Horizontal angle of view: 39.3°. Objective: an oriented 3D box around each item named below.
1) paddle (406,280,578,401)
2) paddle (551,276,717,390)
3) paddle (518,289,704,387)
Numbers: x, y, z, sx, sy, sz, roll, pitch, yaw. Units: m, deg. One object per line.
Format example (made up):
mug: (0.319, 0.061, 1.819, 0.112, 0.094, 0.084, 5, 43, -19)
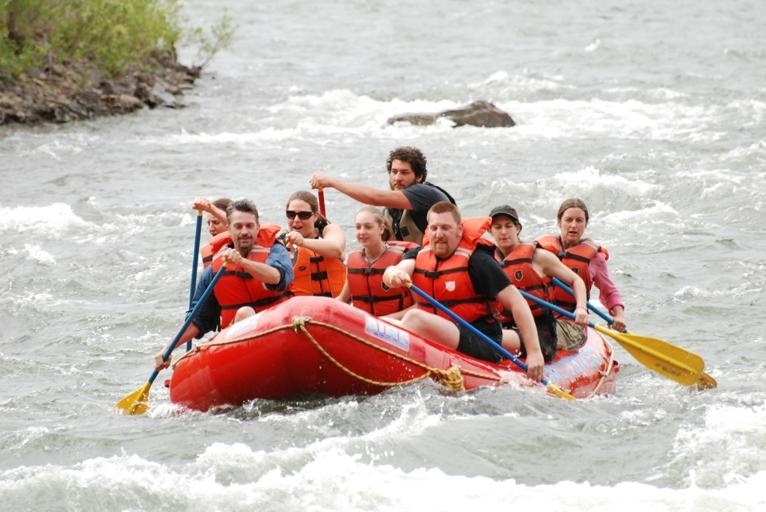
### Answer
paddle: (1.382, 1.176, 14.515, 2.789, 0.119, 0.421, 28, 4, 0)
paddle: (3.755, 1.218, 16.142, 2.715, 0.365, 0.293, 31, 25, 16)
paddle: (3.249, 1.077, 16.453, 0.566, 0.318, 4.022, -45, 40, -15)
